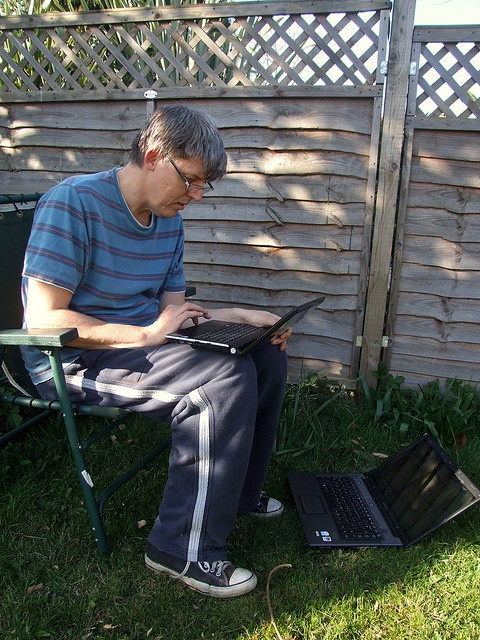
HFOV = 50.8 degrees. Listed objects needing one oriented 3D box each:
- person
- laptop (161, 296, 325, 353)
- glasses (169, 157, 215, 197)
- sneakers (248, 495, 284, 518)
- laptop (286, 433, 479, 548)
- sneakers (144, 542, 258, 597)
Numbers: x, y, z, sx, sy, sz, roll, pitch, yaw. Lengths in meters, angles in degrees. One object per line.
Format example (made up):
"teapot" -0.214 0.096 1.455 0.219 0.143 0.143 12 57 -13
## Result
"person" -0.444 -0.044 2.521 1.476 2.134 1.201 4 7 6
"laptop" -0.032 0.050 1.521 0.270 0.105 0.284 15 14 21
"glasses" -0.156 -0.449 1.570 0.082 0.024 0.081 46 19 19
"sneakers" 0.095 0.680 1.848 0.062 0.054 0.136 0 -11 -26
"laptop" 0.507 0.604 1.793 0.481 0.156 0.357 8 19 -18
"sneakers" -0.103 0.742 1.536 0.336 0.121 0.118 6 4 8
